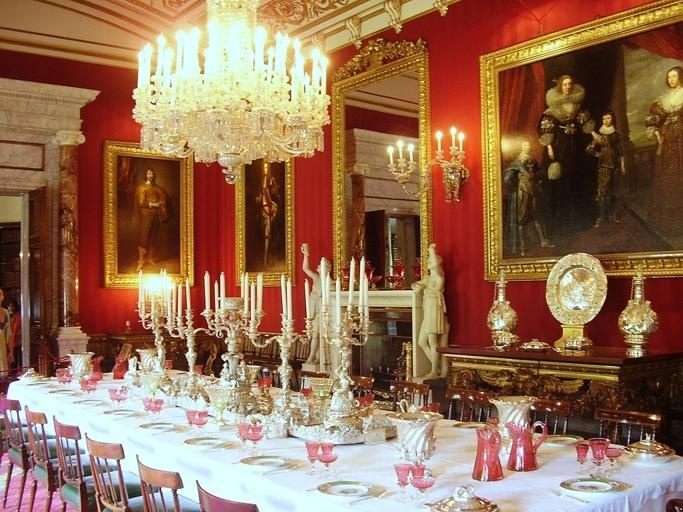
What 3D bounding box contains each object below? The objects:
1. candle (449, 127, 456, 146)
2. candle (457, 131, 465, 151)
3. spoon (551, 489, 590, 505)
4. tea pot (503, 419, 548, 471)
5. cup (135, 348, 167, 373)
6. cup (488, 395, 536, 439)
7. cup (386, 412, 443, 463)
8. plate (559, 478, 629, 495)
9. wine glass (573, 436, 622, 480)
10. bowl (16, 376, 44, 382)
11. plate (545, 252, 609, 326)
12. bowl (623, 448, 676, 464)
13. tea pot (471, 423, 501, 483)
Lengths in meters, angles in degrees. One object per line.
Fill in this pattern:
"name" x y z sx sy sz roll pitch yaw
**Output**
"candle" 1.415 -1.499 7.310 0.083 0.287 0.282 0 -7 10
"candle" 1.506 -1.440 7.264 0.082 0.293 0.197 0 -7 11
"spoon" 1.092 1.156 2.784 0.041 0.027 0.192 -3 0 -25
"tea pot" 1.044 1.088 3.313 0.282 0.279 0.183 0 -9 -2
"cup" -1.904 1.045 5.762 0.367 0.230 0.343 0 -8 0
"cup" 1.061 0.989 3.598 0.266 0.197 0.257 -1 -10 0
"cup" 0.411 0.986 3.167 0.241 0.243 0.278 0 -7 8
"plate" 1.255 1.143 2.891 0.324 0.033 0.214 3 -7 -20
"wine glass" 1.398 1.054 3.139 0.281 0.173 0.249 -3 -13 6
"bowl" -3.446 1.366 6.449 0.200 0.043 0.192 1 -7 0
"plate" 2.340 0.330 5.808 0.115 0.725 0.603 6 -9 -36
"bowl" 1.755 1.116 3.295 0.253 0.100 0.168 -2 -8 22
"tea pot" 0.780 1.043 3.067 0.179 0.254 0.149 1 -7 4
